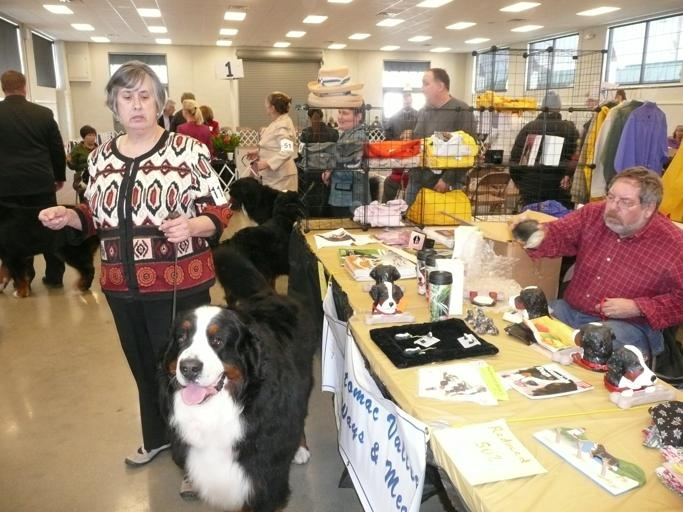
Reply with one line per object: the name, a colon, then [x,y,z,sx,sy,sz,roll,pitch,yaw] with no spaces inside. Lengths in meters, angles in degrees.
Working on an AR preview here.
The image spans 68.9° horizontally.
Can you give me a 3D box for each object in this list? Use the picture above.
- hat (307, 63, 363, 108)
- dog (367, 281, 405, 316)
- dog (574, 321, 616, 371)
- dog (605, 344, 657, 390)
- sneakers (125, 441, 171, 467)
hat: [-0.047,-1.389,4.086,0.469,0.357,0.595,-3,13,-6]
dog: [0.202,0.203,2.332,0.175,0.165,0.197,-1,8,-2]
dog: [0.985,0.359,1.944,0.141,0.163,0.161,-2,3,-4]
dog: [1.047,0.435,1.791,0.182,0.176,0.169,5,5,32]
sneakers: [-1.081,1.126,2.834,0.092,0.101,0.258,7,13,41]
